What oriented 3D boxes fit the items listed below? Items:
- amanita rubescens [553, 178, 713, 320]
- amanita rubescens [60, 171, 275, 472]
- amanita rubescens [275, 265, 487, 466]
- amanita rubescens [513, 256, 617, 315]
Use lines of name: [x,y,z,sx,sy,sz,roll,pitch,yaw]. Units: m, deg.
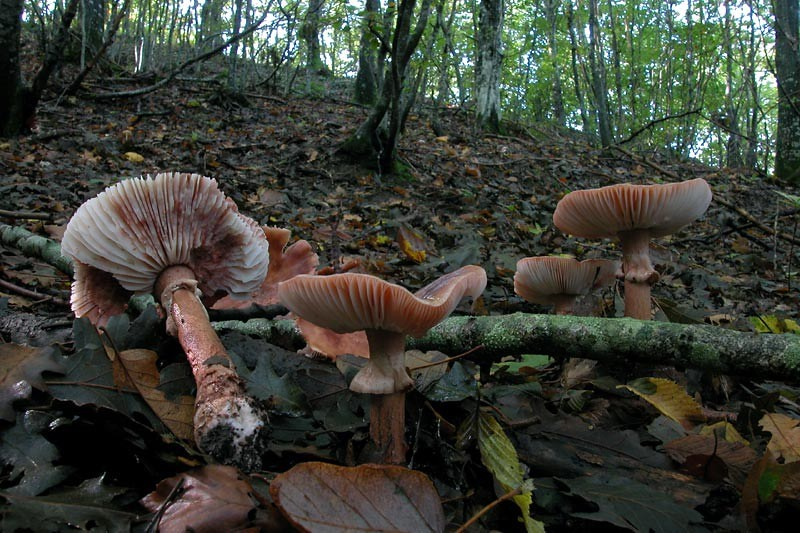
amanita rubescens: [1.737,-0.173,4.708,1.089,1.095,0.599,10,7,20]
amanita rubescens: [-1.371,0.189,4.166,1.721,1.639,1.061,11,8,29]
amanita rubescens: [-0.158,0.563,3.725,1.295,1.204,0.507,7,8,-6]
amanita rubescens: [1.325,0.113,4.823,0.694,0.253,0.605,3,-7,-4]
